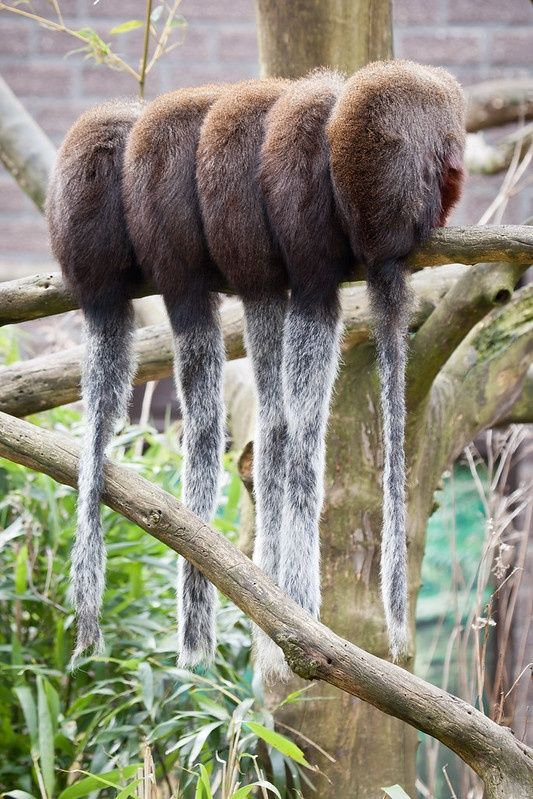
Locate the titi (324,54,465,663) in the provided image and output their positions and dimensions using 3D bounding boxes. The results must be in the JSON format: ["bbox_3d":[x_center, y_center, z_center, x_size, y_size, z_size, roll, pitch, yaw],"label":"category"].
[{"bbox_3d":[0.156,-0.052,1.785,0.173,0.741,0.097,2,-2,0],"label":"titi"}]
